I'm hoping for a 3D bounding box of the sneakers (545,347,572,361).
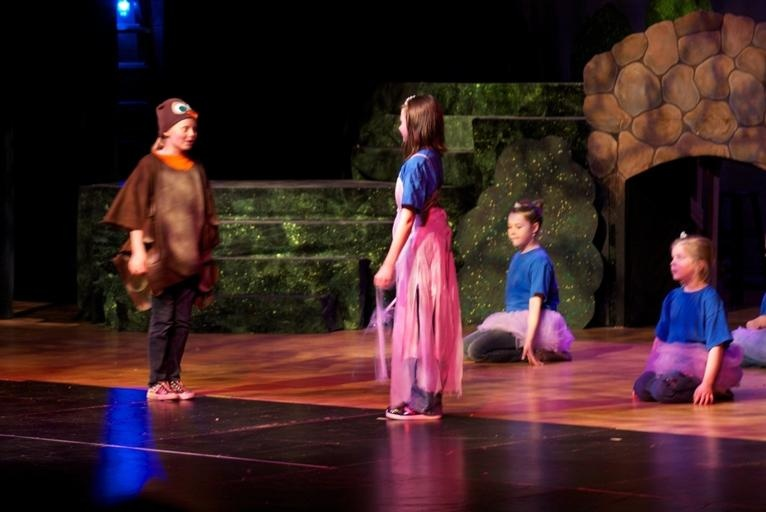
[{"bbox_3d":[1.353,0.743,7.356,0.260,0.092,0.079,-3,7,-29],"label":"sneakers"}]

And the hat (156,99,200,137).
[{"bbox_3d":[-1.291,-0.845,6.033,0.264,0.239,0.260,1,9,10],"label":"hat"}]

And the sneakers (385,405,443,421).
[{"bbox_3d":[0.183,0.856,5.498,0.273,0.086,0.109,5,-8,-6],"label":"sneakers"}]

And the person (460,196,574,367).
[{"bbox_3d":[1.187,0.255,7.926,1.030,1.439,1.294,1,-1,-6],"label":"person"}]

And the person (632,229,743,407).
[{"bbox_3d":[1.895,0.380,6.003,0.644,1.015,0.383,2,7,18],"label":"person"}]

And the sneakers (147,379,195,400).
[{"bbox_3d":[-1.310,0.820,5.996,0.205,0.084,0.135,-5,-6,29],"label":"sneakers"}]

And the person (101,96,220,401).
[{"bbox_3d":[-1.352,-0.037,6.006,0.663,1.820,0.351,-1,7,-10],"label":"person"}]

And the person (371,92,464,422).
[{"bbox_3d":[0.168,0.011,5.478,0.578,1.805,0.309,-5,8,-34],"label":"person"}]
